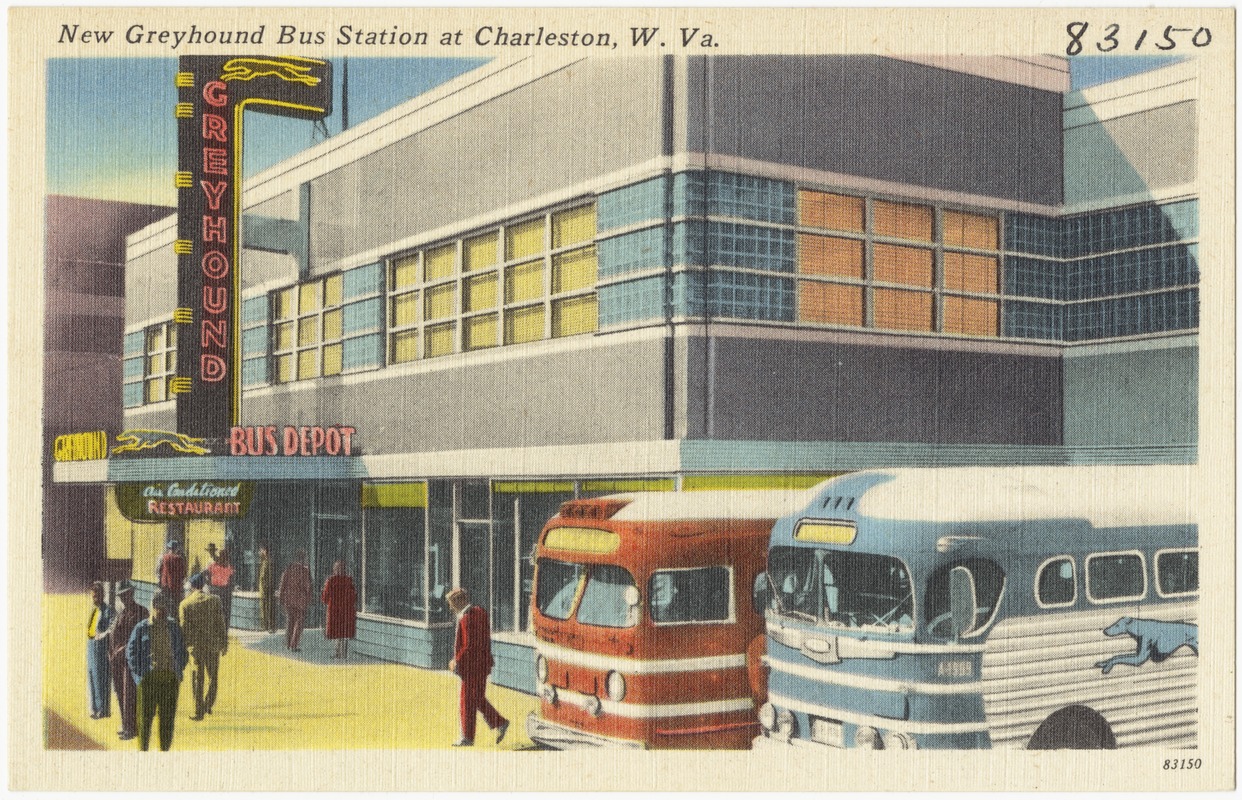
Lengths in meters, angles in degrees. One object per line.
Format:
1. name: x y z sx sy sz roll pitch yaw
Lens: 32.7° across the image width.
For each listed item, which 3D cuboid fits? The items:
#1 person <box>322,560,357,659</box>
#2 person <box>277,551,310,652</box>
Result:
1. person: -4.510 3.279 33.946 0.545 1.340 0.404 1 -6 -9
2. person: -5.347 3.287 34.801 0.519 1.499 1.137 1 -7 -9
